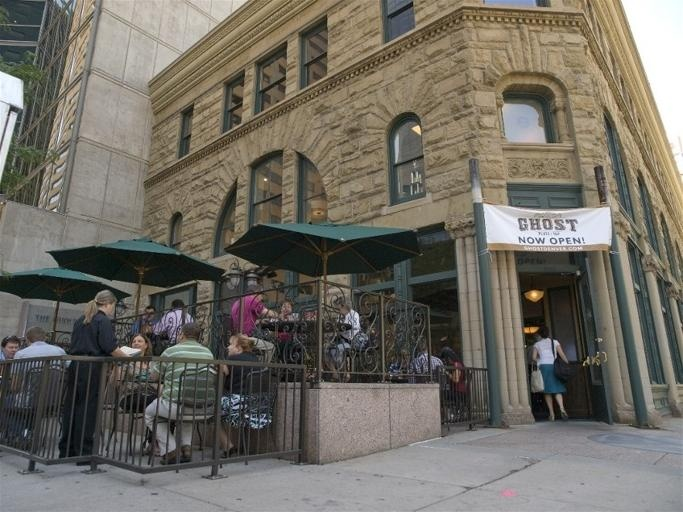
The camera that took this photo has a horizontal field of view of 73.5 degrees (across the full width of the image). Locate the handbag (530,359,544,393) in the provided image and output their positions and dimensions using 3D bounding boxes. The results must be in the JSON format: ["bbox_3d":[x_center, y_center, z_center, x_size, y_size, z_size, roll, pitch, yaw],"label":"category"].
[{"bbox_3d":[4.711,2.928,10.985,0.243,0.621,0.424,-3,-16,5],"label":"handbag"}]

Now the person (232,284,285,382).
[{"bbox_3d":[-1.441,1.327,7.838,0.717,1.656,0.809,13,-32,-43],"label":"person"}]

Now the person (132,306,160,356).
[{"bbox_3d":[-4.350,1.667,10.147,0.306,1.196,1.231,4,-7,-35],"label":"person"}]

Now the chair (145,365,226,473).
[{"bbox_3d":[-2.082,2.012,6.022,0.812,1.297,0.780,-18,-23,39],"label":"chair"}]

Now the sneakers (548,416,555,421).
[{"bbox_3d":[5.071,3.885,10.920,0.111,0.127,0.486,-8,-17,20],"label":"sneakers"}]

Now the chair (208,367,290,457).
[{"bbox_3d":[-1.280,2.165,6.405,0.850,1.463,1.226,-9,-19,36],"label":"chair"}]

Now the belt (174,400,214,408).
[{"bbox_3d":[-1.887,1.869,5.758,0.265,0.060,0.250,-2,-11,14],"label":"belt"}]

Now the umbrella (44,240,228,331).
[{"bbox_3d":[-4.724,0.371,10.950,2.631,1.189,2.629,3,-13,3],"label":"umbrella"}]

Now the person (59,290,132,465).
[{"bbox_3d":[-3.329,1.568,6.231,0.831,2.219,0.716,-4,-13,26],"label":"person"}]

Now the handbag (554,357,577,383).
[{"bbox_3d":[5.261,2.670,10.740,0.430,0.584,0.231,-6,-16,14],"label":"handbag"}]

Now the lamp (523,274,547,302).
[{"bbox_3d":[6.474,1.126,15.231,0.737,0.830,1.128,-8,-17,20],"label":"lamp"}]
